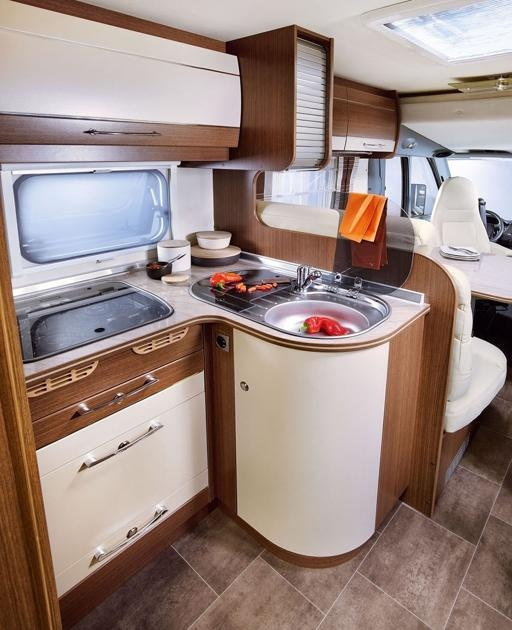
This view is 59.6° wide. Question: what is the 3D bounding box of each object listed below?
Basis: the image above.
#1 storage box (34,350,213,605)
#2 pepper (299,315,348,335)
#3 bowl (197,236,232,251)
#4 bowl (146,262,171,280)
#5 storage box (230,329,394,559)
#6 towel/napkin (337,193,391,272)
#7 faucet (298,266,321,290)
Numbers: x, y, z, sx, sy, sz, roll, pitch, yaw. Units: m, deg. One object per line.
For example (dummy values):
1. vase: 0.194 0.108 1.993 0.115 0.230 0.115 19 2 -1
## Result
1. storage box: -0.565 0.536 1.525 0.419 0.541 0.607 11 16 36
2. pepper: 0.235 0.036 1.521 0.129 0.065 0.042 3 -24 -1
3. bowl: -0.207 -0.350 2.138 0.098 0.034 0.094 -1 18 0
4. bowl: -0.417 -0.190 1.905 0.064 0.047 0.109 5 11 21
5. storage box: 0.101 0.330 1.838 0.555 0.591 0.912 6 43 -8
6. towel/napkin: 0.460 -0.325 1.780 0.223 0.272 0.249 11 17 23
7. faucet: 0.207 -0.154 1.808 0.068 0.114 0.121 13 22 36
